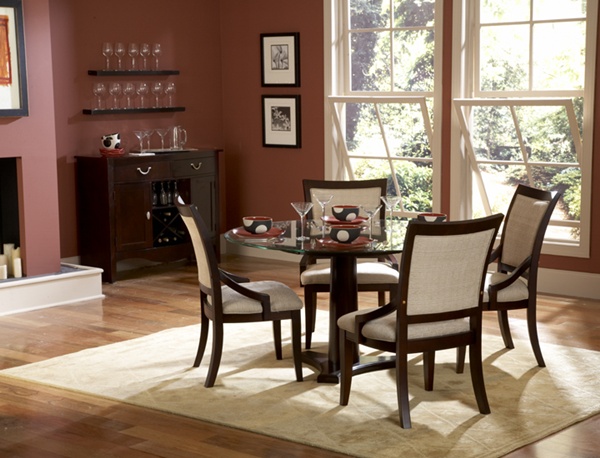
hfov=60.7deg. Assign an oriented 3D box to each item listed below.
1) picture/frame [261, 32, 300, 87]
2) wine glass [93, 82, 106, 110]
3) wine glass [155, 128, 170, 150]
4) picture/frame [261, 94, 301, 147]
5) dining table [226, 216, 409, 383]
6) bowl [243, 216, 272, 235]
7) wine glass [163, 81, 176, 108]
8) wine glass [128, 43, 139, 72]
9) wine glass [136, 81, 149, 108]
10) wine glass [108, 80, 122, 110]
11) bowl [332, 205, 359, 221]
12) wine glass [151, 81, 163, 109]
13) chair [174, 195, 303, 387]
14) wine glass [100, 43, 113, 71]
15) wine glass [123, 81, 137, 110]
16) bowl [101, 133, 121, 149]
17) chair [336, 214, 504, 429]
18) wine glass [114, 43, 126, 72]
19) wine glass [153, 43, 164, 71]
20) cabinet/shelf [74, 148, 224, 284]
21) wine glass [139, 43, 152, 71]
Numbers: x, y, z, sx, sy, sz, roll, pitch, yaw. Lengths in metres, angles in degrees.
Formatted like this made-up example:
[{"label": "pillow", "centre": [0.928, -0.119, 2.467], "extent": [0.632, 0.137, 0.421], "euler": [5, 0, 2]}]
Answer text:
[{"label": "picture/frame", "centre": [-0.211, -2.112, 5.997], "extent": [0.666, 0.795, 0.077], "euler": [3, 5, 31]}, {"label": "wine glass", "centre": [-2.134, -1.514, 5.469], "extent": [0.127, 0.283, 0.140], "euler": [-3, 8, -20]}, {"label": "wine glass", "centre": [-1.623, -1.150, 6.045], "extent": [0.145, 0.232, 0.065], "euler": [-4, 8, -24]}, {"label": "picture/frame", "centre": [-0.203, -1.397, 6.087], "extent": [0.627, 0.768, 0.052], "euler": [4, 7, 35]}, {"label": "dining table", "centre": [0.125, 0.341, 2.918], "extent": [0.963, 0.643, 0.944], "euler": [-5, 7, -43]}, {"label": "bowl", "centre": [-0.254, -0.048, 3.008], "extent": [0.115, 0.063, 0.119], "euler": [-2, 8, 0]}, {"label": "wine glass", "centre": [-1.524, -1.694, 6.037], "extent": [0.132, 0.319, 0.210], "euler": [-2, 7, -14]}, {"label": "wine glass", "centre": [-1.847, -2.034, 5.721], "extent": [0.042, 0.294, 0.128], "euler": [5, 9, 40]}, {"label": "wine glass", "centre": [-1.782, -1.615, 5.809], "extent": [0.160, 0.286, 0.097], "euler": [-6, 9, -37]}, {"label": "wine glass", "centre": [-2.017, -1.553, 5.604], "extent": [0.139, 0.279, 0.084], "euler": [-5, 8, -30]}, {"label": "bowl", "centre": [0.296, -0.125, 3.248], "extent": [0.126, 0.059, 0.101], "euler": [-2, 2, -32]}, {"label": "wine glass", "centre": [-1.652, -1.662, 5.926], "extent": [0.131, 0.302, 0.117], "euler": [-3, 8, -21]}, {"label": "chair", "centre": [-0.342, 0.343, 2.993], "extent": [0.654, 1.003, 0.537], "euler": [1, 4, -16]}, {"label": "wine glass", "centre": [-2.053, -1.961, 5.506], "extent": [0.124, 0.273, 0.101], "euler": [-6, 9, -35]}, {"label": "wine glass", "centre": [-1.886, -1.584, 5.672], "extent": [0.126, 0.307, 0.191], "euler": [-3, 8, -17]}, {"label": "bowl", "centre": [-1.993, -1.003, 5.427], "extent": [0.193, 0.182, 0.165], "euler": [5, 9, 17]}, {"label": "chair", "centre": [0.568, 0.381, 2.471], "extent": [0.621, 0.880, 0.689], "euler": [0, -1, -34]}, {"label": "wine glass", "centre": [-1.955, -1.990, 5.589], "extent": [0.114, 0.277, 0.165], "euler": [-3, 8, -15]}, {"label": "wine glass", "centre": [-1.640, -2.110, 5.898], "extent": [0.111, 0.311, 0.174], "euler": [-3, 8, -15]}, {"label": "cabinet/shelf", "centre": [-1.620, -0.286, 5.840], "extent": [0.586, 1.326, 1.585], "euler": [8, 12, 35]}, {"label": "wine glass", "centre": [-1.743, -2.055, 5.784], "extent": [0.112, 0.281, 0.160], "euler": [-2, 7, -8]}]
